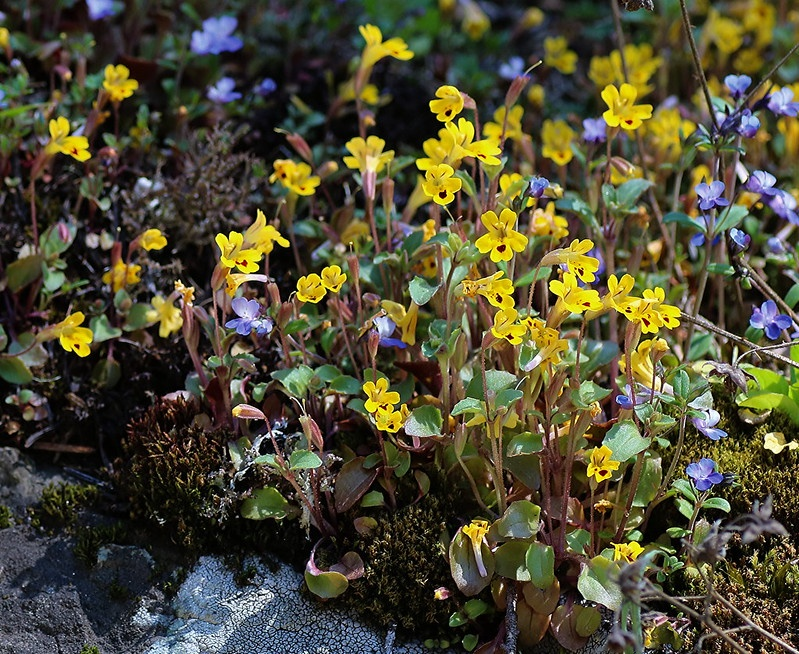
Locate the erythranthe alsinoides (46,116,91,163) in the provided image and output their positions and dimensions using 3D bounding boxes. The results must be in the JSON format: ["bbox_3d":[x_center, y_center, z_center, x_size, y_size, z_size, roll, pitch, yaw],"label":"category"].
[{"bbox_3d":[-1.334,-0.733,3.617,0.174,0.070,0.197,18,55,-39],"label":"erythranthe alsinoides"}]

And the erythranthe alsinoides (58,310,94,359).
[{"bbox_3d":[-1.247,0.024,3.443,0.146,0.157,0.076,-33,19,-9],"label":"erythranthe alsinoides"}]

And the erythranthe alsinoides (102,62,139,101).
[{"bbox_3d":[-1.216,-1.059,3.840,0.141,0.139,0.101,-17,58,-21],"label":"erythranthe alsinoides"}]
